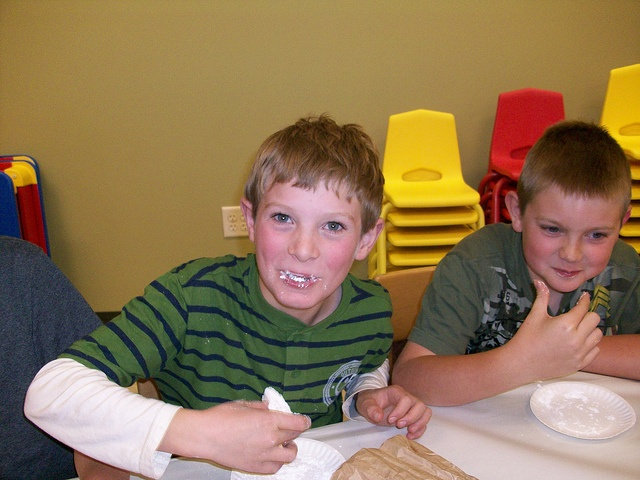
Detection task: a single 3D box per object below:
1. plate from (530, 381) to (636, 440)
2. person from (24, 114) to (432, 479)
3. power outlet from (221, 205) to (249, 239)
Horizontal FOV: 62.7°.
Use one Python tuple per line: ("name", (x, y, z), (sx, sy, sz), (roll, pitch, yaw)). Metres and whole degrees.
("plate", (0.657, 0.429, 1.326), (0.242, 0.056, 0.186), (7, 17, 18))
("person", (-0.329, 0.106, 1.798), (1.152, 1.083, 0.641), (15, 17, -33))
("power outlet", (-0.516, -0.116, 3.114), (0.225, 0.233, 0.023), (-1, 11, -3))
